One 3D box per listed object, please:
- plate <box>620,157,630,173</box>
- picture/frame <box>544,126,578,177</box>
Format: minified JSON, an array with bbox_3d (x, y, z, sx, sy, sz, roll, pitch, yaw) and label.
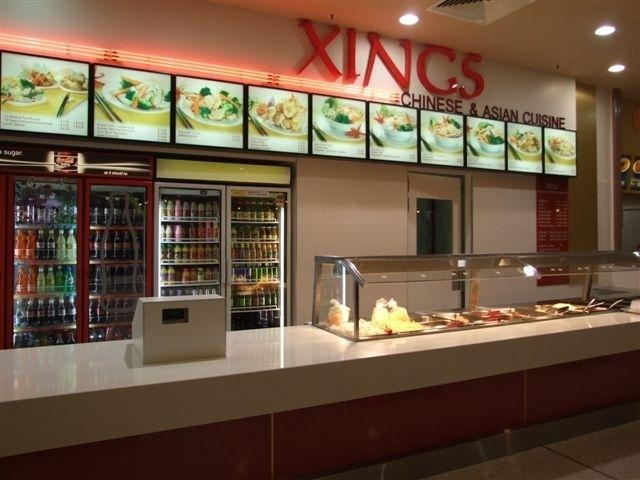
[{"bbox_3d":[4.898,-1.203,7.896,0.249,0.234,0.078,-7,15,-35],"label":"plate"},{"bbox_3d":[3.376,-1.228,6.926,0.698,0.673,0.068,6,-8,-36],"label":"picture/frame"}]
